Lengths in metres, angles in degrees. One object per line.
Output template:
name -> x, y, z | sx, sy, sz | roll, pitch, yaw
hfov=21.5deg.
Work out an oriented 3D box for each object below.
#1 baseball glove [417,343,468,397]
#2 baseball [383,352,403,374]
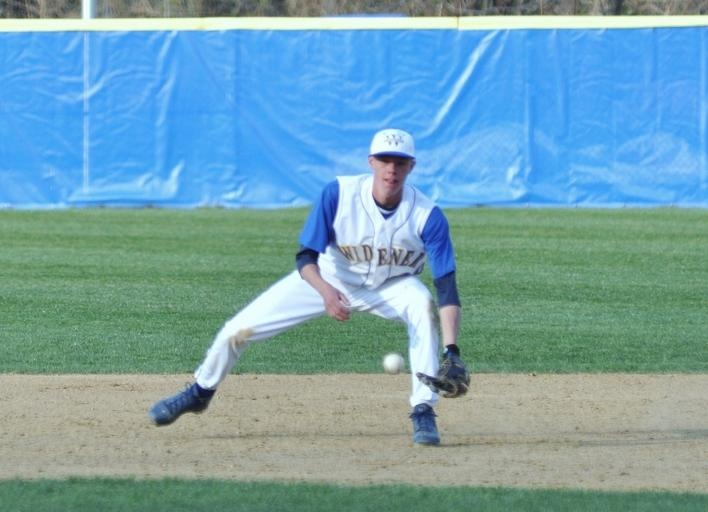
baseball glove -> 1.114, 1.424, 22.852 | 0.635, 0.648, 0.251 | 2, 13, 0
baseball -> 0.510, 1.368, 23.930 | 0.243, 0.245, 0.187 | 9, 23, -24
